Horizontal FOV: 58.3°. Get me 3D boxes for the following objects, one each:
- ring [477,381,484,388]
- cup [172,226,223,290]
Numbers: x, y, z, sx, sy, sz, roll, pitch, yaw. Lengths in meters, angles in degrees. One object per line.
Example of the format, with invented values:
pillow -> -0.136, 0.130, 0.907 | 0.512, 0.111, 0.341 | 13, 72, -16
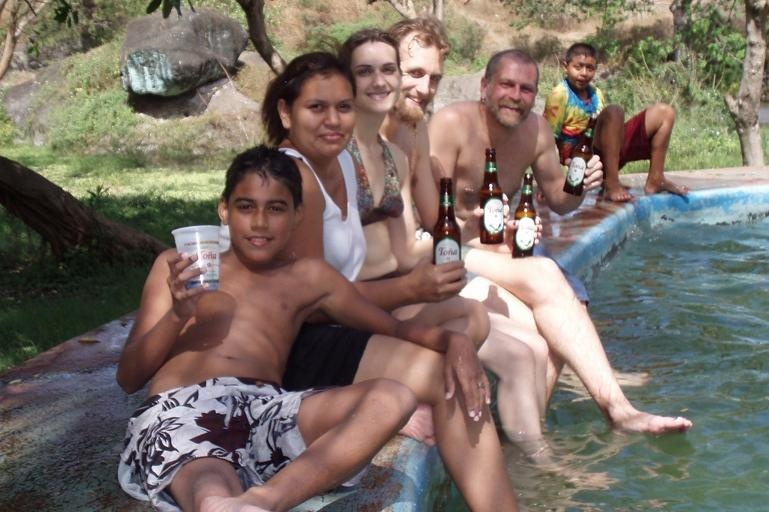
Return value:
ring -> 0.541, 0.712, 3.823 | 0.031, 0.008, 0.029 | 2, 11, 0
cup -> -0.909, 0.024, 3.636 | 0.316, 0.326, 0.300 | -4, -12, -1
